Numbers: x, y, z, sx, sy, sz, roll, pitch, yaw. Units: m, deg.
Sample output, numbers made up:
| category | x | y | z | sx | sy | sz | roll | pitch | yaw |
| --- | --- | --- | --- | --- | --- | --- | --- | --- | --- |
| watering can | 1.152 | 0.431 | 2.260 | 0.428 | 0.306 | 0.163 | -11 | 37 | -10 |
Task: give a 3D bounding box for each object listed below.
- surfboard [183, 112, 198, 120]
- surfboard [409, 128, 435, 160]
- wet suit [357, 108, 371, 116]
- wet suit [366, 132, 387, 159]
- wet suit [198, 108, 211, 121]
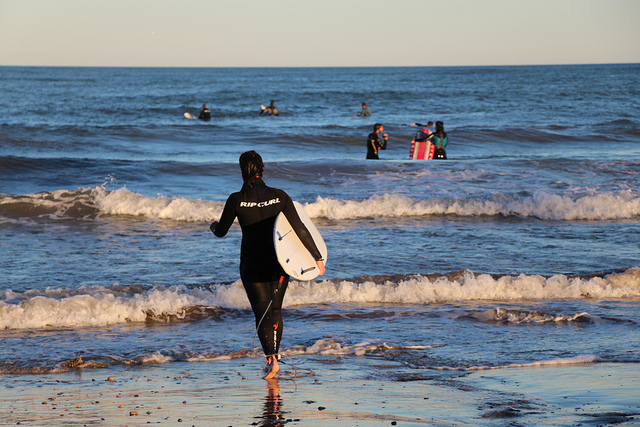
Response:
| category | x | y | z | sx | sy | sz | roll | pitch | yaw |
| --- | --- | --- | --- | --- | --- | --- | --- | --- | --- |
| surfboard | -6.520 | -4.826 | 60.322 | 0.448 | 0.515 | 0.134 | 21 | -66 | -44 |
| surfboard | 3.682 | -2.457 | 43.484 | 0.790 | 1.076 | 0.304 | 6 | 4 | 21 |
| wet suit | 2.180 | -5.093 | 61.790 | 0.607 | 0.363 | 1.000 | -1 | -1 | 2 |
| wet suit | 1.897 | -2.346 | 41.791 | 0.602 | 0.906 | 1.315 | -1 | -1 | 1 |
| wet suit | -5.786 | -4.863 | 60.435 | 0.558 | 0.716 | 1.318 | -1 | -1 | -7 |
